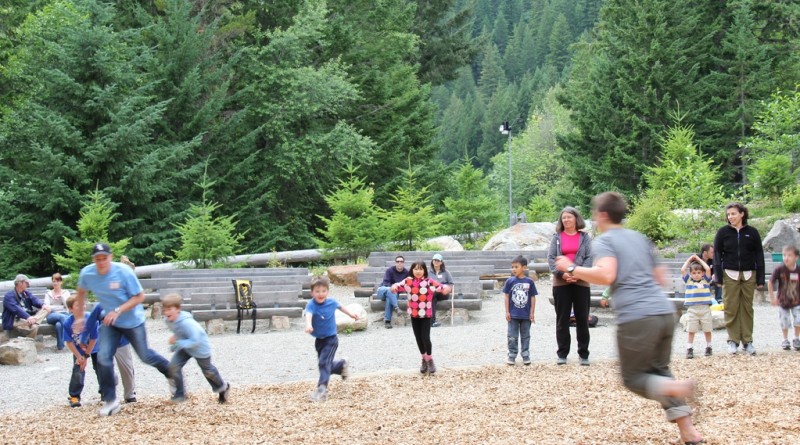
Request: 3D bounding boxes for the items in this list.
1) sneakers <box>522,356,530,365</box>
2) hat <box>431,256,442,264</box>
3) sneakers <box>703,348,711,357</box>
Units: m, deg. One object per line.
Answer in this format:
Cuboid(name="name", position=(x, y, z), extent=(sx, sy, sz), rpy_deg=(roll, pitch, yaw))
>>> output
Cuboid(name="sneakers", position=(4.405, 4.820, 31.432), extent=(0.211, 0.275, 0.372), rpy_deg=(-5, 1, 42))
Cuboid(name="hat", position=(1.421, 1.502, 35.502), extent=(0.321, 0.164, 0.447), rpy_deg=(3, -3, 8))
Cuboid(name="sneakers", position=(10.655, 4.535, 31.477), extent=(0.241, 0.259, 0.301), rpy_deg=(-6, 1, 18))
